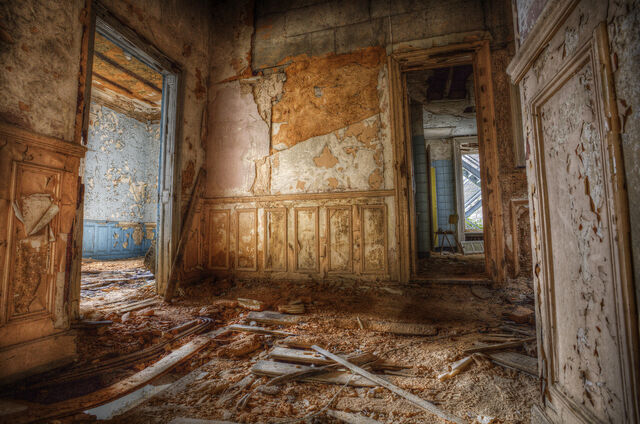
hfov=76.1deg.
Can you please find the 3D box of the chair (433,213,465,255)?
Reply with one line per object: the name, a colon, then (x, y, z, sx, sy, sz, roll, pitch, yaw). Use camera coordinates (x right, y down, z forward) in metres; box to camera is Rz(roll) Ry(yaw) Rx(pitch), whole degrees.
chair: (2.898, 0.490, 9.458, 0.558, 0.740, 0.571, -7, 8, 4)
